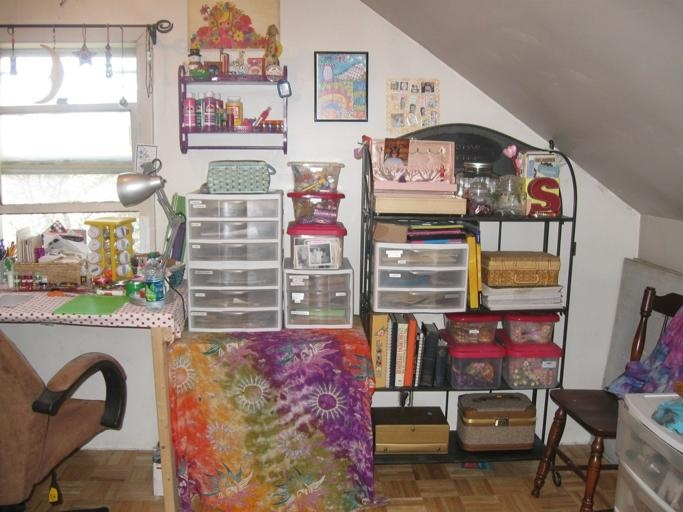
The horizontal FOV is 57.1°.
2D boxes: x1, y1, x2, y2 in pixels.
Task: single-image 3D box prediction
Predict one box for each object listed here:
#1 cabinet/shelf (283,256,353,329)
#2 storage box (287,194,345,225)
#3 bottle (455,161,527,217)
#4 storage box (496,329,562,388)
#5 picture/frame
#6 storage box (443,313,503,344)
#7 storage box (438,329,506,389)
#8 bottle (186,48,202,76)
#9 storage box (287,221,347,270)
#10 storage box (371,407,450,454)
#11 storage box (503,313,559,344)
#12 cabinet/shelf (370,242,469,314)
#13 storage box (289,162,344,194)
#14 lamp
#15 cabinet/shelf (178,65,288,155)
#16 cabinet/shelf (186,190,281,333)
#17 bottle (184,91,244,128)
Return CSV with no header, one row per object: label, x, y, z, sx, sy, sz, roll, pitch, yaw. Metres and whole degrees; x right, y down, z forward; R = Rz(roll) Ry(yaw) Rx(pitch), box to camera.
cabinet/shelf,-0.064,0.242,3.725,0.536,0.330,0.544,0,-3,-6
storage box,-0.142,-0.279,3.551,0.303,0.175,0.109,1,10,0
bottle,0.855,-0.386,3.575,0.383,0.290,0.190,2,10,7
storage box,1.145,0.634,3.786,0.308,0.220,0.436,2,2,11
picture/frame,-0.006,-1.052,3.793,0.401,0.472,0.032,0,3,-4
storage box,0.759,0.404,3.614,0.232,0.114,0.185,1,-1,-2
storage box,0.773,0.618,3.772,0.323,0.256,0.429,-1,7,-7
bottle,-0.847,-1.132,3.654,0.081,0.170,0.107,-2,10,-14
storage box,-0.126,-0.061,3.482,0.294,0.208,0.245,-1,4,-8
storage box,0.402,1.027,3.759,0.447,0.221,0.235,0,10,-1
storage box,1.075,0.410,3.603,0.189,0.117,0.240,0,5,-9
cabinet/shelf,0.428,0.113,3.611,0.535,0.383,0.306,1,9,-9
storage box,-0.144,-0.450,3.546,0.295,0.170,0.149,3,10,12
lamp,-1.032,-0.234,3.461,0.315,0.653,0.199,0,26,-13
cabinet/shelf,-0.642,-0.898,3.733,0.516,0.421,0.132,-1,3,-6
cabinet/shelf,-0.571,0.035,3.674,0.550,0.761,0.453,-1,4,0
bottle,-0.750,-0.864,3.708,0.237,0.155,0.083,-1,3,-8
